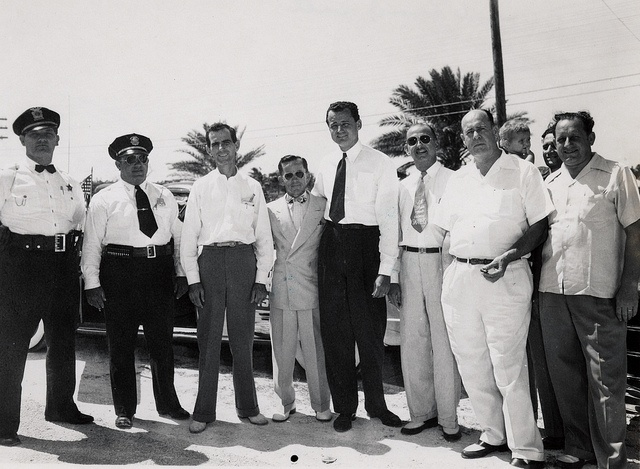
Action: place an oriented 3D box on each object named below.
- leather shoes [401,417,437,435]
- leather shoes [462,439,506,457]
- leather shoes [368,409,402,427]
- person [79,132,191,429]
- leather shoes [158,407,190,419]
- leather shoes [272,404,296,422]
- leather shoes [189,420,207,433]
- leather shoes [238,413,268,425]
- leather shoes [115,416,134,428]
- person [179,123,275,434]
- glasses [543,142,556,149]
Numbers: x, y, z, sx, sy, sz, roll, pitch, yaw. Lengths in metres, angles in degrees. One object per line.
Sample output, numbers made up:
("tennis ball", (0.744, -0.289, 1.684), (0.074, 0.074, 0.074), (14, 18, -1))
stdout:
("leather shoes", (0.892, 1.698, 5.234), (0.340, 0.126, 0.111), (-4, 3, -28))
("leather shoes", (1.396, 1.750, 4.836), (0.410, 0.154, 0.134), (2, -8, -4))
("leather shoes", (0.603, 1.644, 5.369), (0.294, 0.117, 0.141), (5, 14, 36))
("person", (-1.705, 0.395, 5.410), (0.917, 2.639, 0.639), (-3, 7, -23))
("leather shoes", (-1.363, 1.659, 5.491), (0.212, 0.064, 0.129), (-1, -3, 16))
("leather shoes", (-0.306, 1.669, 5.532), (0.128, 0.108, 0.320), (5, 8, 40))
("leather shoes", (-1.076, 1.703, 5.229), (0.176, 0.086, 0.143), (-2, 7, -23))
("leather shoes", (-0.622, 1.700, 5.432), (0.284, 0.108, 0.105), (-3, 8, 21))
("leather shoes", (-1.758, 1.674, 5.244), (0.149, 0.108, 0.100), (-2, 7, -19))
("person", (-0.833, 0.355, 5.370), (0.850, 2.745, 0.560), (-1, 7, -14))
("glasses", (2.167, -0.834, 5.476), (0.117, 0.054, 0.151), (2, 8, 12))
